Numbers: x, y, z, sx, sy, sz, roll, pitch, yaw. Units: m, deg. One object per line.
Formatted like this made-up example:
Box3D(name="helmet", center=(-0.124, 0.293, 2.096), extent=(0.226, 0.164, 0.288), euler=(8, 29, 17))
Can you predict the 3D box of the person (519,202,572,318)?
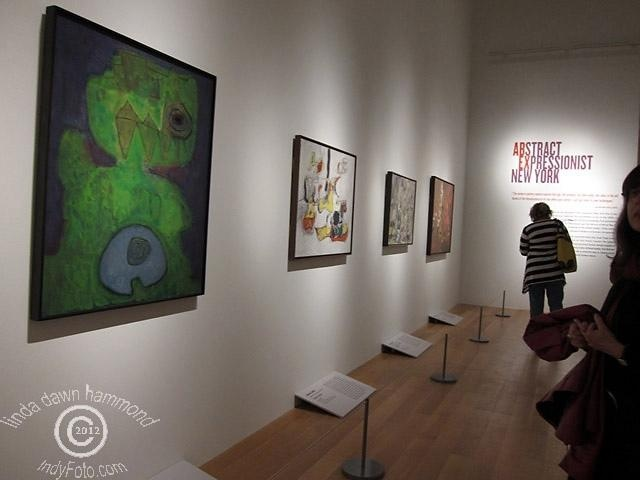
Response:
Box3D(name="person", center=(4.565, 0.507, 9.161), extent=(0.860, 2.690, 0.837), euler=(-1, 14, 28))
